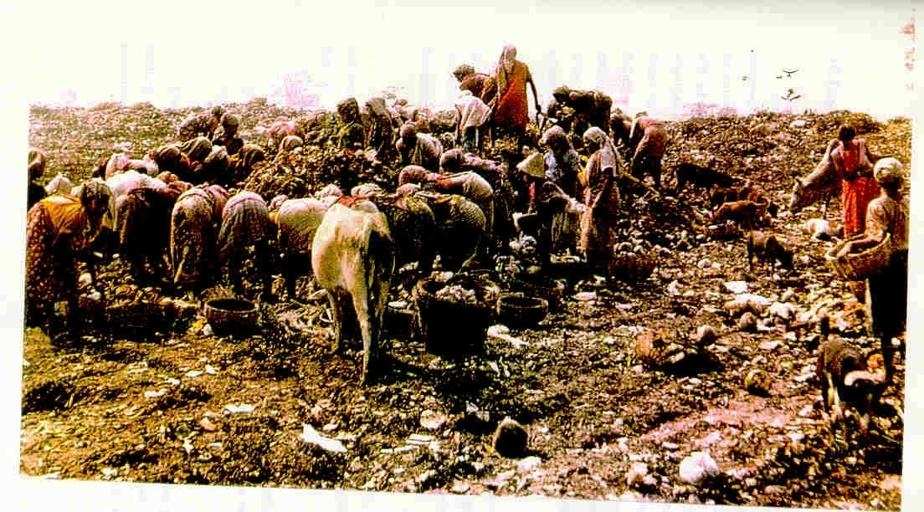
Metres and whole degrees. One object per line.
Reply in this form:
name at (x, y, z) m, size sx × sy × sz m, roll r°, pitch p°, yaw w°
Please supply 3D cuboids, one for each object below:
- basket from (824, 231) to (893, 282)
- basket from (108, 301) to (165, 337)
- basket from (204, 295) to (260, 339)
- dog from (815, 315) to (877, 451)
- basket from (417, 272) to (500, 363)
basket at (4.062, 0.029, 8.107) m, size 0.589 × 0.217 × 0.496 m, roll -25°, pitch 5°, yaw -3°
basket at (-3.389, 0.660, 8.330) m, size 0.690 × 0.406 × 0.352 m, roll 1°, pitch 2°, yaw 5°
basket at (-2.398, 0.634, 8.242) m, size 0.466 × 0.180 × 0.456 m, roll 8°, pitch 11°, yaw 18°
dog at (3.837, 1.321, 7.999) m, size 0.404 × 1.215 × 0.726 m, roll -5°, pitch -20°, yaw 23°
basket at (-0.057, 0.616, 8.101) m, size 0.885 × 0.598 × 0.860 m, roll 4°, pitch 2°, yaw -3°
